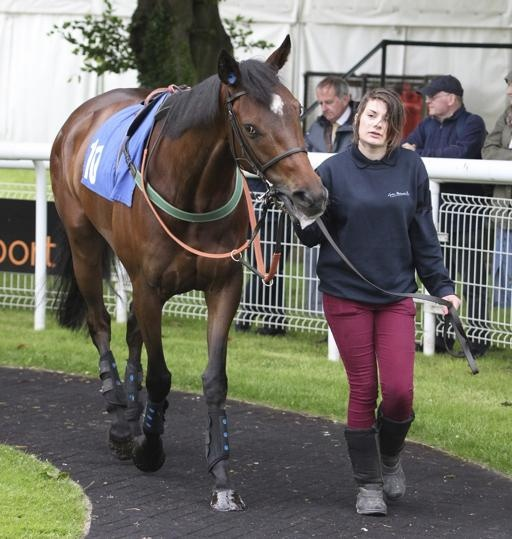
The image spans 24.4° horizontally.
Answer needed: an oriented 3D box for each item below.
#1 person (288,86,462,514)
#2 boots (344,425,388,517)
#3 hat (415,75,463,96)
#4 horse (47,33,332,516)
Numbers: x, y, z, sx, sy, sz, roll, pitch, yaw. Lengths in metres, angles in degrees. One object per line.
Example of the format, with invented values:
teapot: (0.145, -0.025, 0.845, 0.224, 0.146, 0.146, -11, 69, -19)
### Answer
person: (0.535, 0.144, 5.296, 0.697, 1.869, 0.417, 1, 9, 2)
boots: (0.495, 0.897, 5.329, 0.204, 0.372, 0.230, 3, 10, 15)
hat: (1.284, -1.270, 8.177, 0.222, 0.133, 0.160, 10, 14, 4)
horse: (-0.524, -0.047, 6.171, 0.682, 2.285, 2.934, -3, 8, -26)
